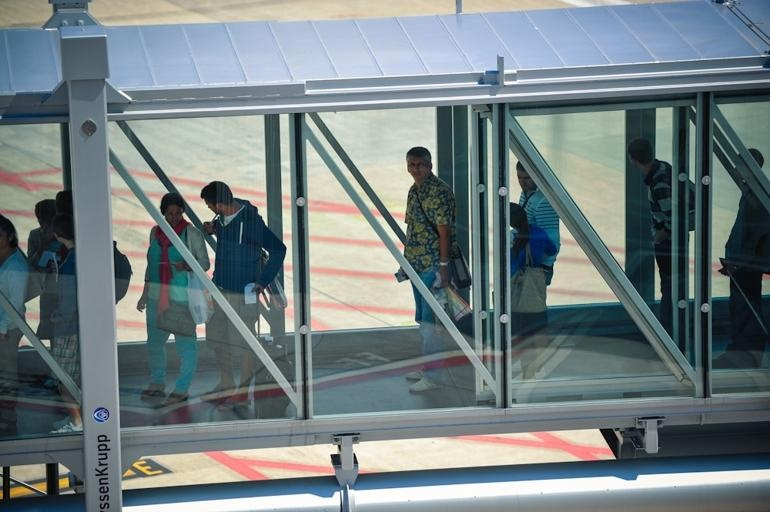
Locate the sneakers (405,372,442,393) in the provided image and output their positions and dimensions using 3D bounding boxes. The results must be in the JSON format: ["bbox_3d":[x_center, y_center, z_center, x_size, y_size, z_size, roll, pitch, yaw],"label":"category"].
[{"bbox_3d":[0.407,1.279,15.096,0.398,0.288,0.153,2,6,-5],"label":"sneakers"}]

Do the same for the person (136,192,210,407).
[{"bbox_3d":[-2.137,0.436,14.843,0.767,2.014,0.434,-12,-9,33],"label":"person"}]

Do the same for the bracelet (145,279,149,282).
[{"bbox_3d":[-2.347,0.250,14.772,0.027,0.026,0.046,7,7,41],"label":"bracelet"}]

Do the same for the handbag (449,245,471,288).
[{"bbox_3d":[0.773,0.135,15.128,0.176,0.354,0.371,-16,5,1],"label":"handbag"}]

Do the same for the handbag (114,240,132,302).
[{"bbox_3d":[-2.579,0.160,14.750,0.176,0.588,0.133,-5,-8,-18],"label":"handbag"}]

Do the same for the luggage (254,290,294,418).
[{"bbox_3d":[-1.099,0.988,15.097,0.538,1.408,0.314,-3,-10,33],"label":"luggage"}]

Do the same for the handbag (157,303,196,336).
[{"bbox_3d":[-2.051,0.625,14.892,0.497,0.349,0.287,4,10,0],"label":"handbag"}]

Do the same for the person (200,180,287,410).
[{"bbox_3d":[-1.415,0.361,14.871,0.885,2.172,0.430,-6,-7,-9],"label":"person"}]

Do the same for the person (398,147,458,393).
[{"bbox_3d":[0.436,0.135,15.023,0.664,2.411,0.417,-8,-7,10],"label":"person"}]

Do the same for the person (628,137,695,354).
[{"bbox_3d":[2.894,-0.112,15.162,0.649,2.153,0.407,-6,-7,-5],"label":"person"}]

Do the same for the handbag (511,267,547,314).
[{"bbox_3d":[1.457,0.350,15.129,0.470,0.498,0.285,1,0,-10],"label":"handbag"}]
